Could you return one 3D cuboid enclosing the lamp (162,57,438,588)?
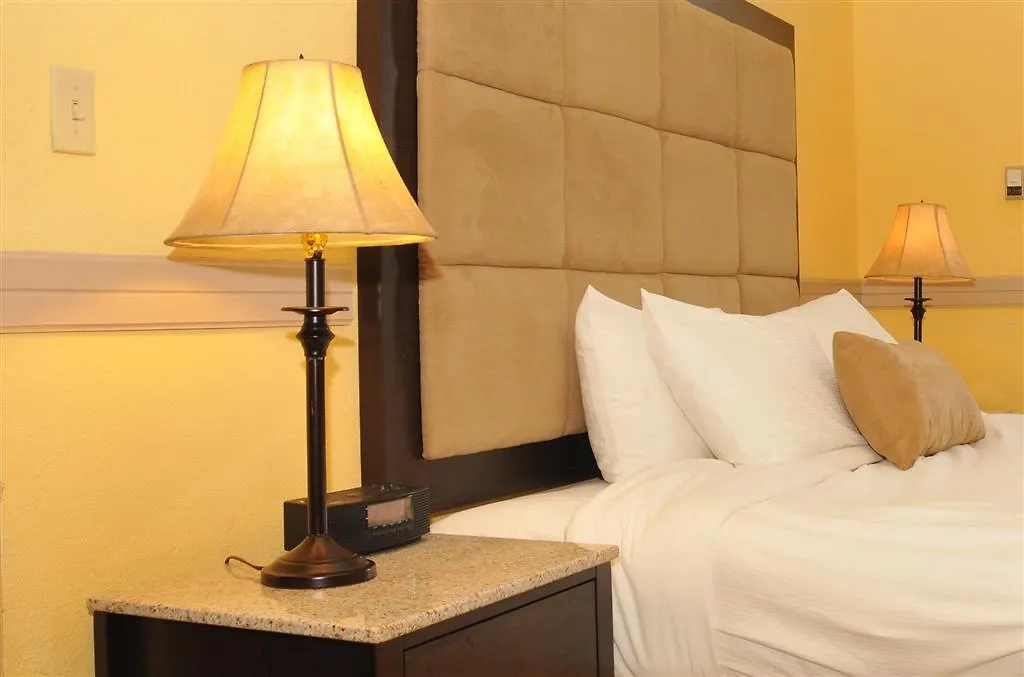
[{"bbox_3d":[-0.452,-0.049,2.148,0.572,1.116,0.420,1,8,5],"label":"lamp"}]
